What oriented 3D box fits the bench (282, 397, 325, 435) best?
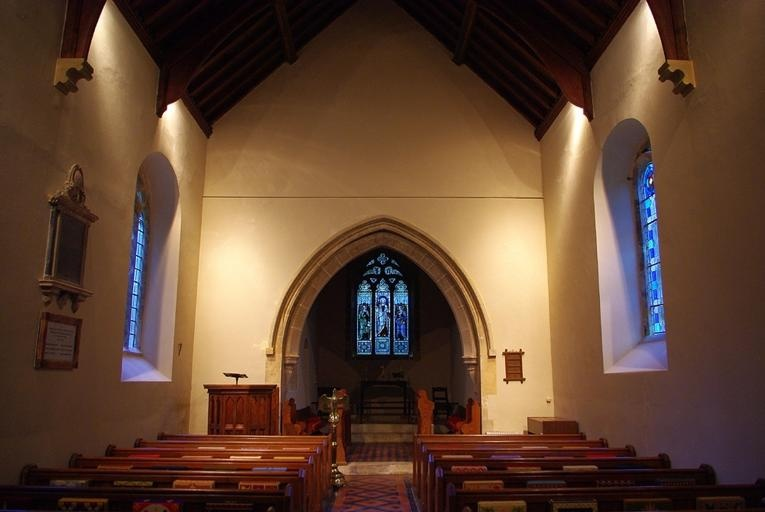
[{"bbox_3d":[-1.556,3.203,12.401,0.611,0.636,2.472,-1,-15,-3],"label":"bench"}]
